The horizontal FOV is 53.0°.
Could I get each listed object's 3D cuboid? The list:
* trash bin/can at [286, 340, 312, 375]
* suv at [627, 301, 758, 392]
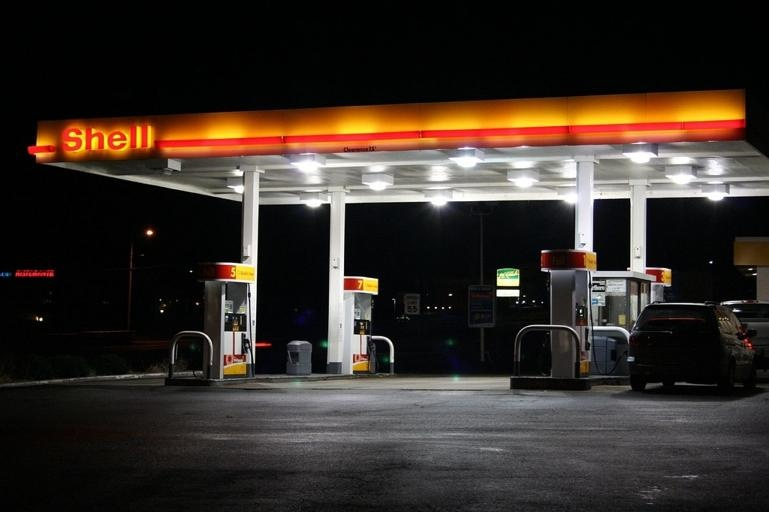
[{"bbox_3d":[-3.515,4.189,31.613,0.952,1.342,1.499,1,-8,-8],"label":"trash bin/can"},{"bbox_3d":[8.416,2.444,20.651,3.460,2.361,1.823,3,-8,-25],"label":"suv"}]
